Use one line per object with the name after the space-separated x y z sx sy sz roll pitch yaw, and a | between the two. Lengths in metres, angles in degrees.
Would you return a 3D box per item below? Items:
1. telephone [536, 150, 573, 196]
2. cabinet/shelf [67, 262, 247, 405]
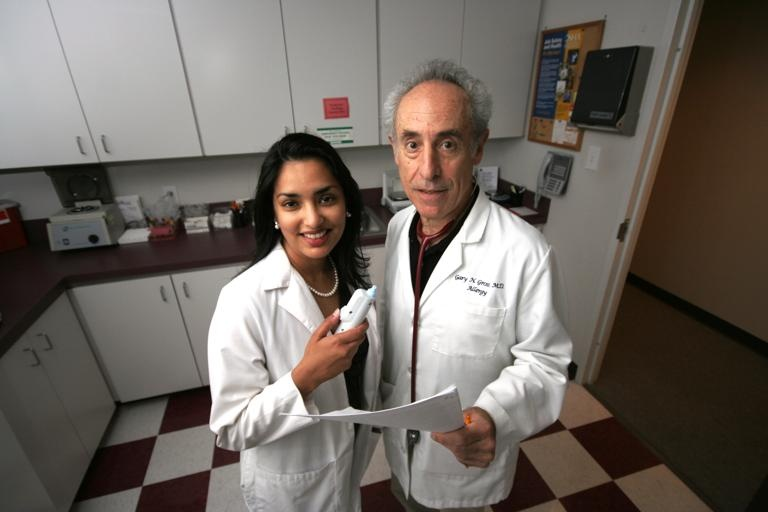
1.351 -0.645 3.396 0.114 0.334 0.237 -8 22 -44 | telephone
-1.603 0.484 2.921 0.896 0.768 0.322 -11 26 -17 | cabinet/shelf
